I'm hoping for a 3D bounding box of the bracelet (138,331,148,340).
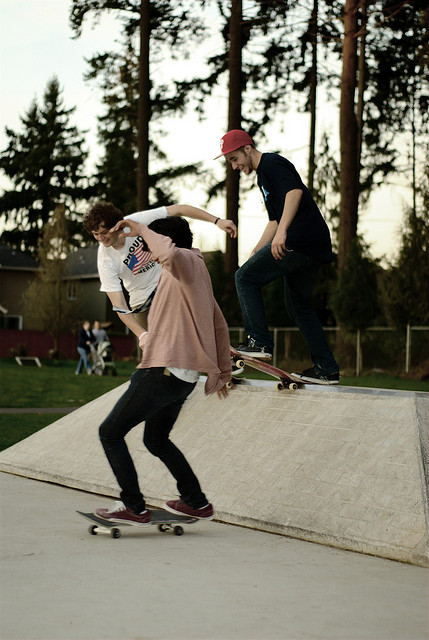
[{"bbox_3d":[-0.399,0.088,4.390,0.042,0.042,0.194,-2,-1,-6],"label":"bracelet"}]

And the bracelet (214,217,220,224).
[{"bbox_3d":[0.012,-0.660,5.258,0.026,0.042,0.072,-2,0,1],"label":"bracelet"}]

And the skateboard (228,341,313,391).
[{"bbox_3d":[0.409,0.351,5.703,0.553,0.330,0.476,-2,0,6],"label":"skateboard"}]

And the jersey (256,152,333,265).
[{"bbox_3d":[0.525,-0.779,5.557,0.454,0.750,0.511,-2,0,31],"label":"jersey"}]

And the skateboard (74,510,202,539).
[{"bbox_3d":[-0.431,1.146,4.434,0.692,0.132,0.189,3,-1,-29],"label":"skateboard"}]

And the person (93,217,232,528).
[{"bbox_3d":[-0.301,0.304,4.368,0.648,1.657,0.642,-2,0,34],"label":"person"}]

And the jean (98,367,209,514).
[{"bbox_3d":[-0.328,0.666,4.301,0.590,0.800,0.343,-2,0,-12],"label":"jean"}]

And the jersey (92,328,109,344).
[{"bbox_3d":[-3.698,0.529,25.402,0.509,0.415,0.172,-3,-4,-34],"label":"jersey"}]
